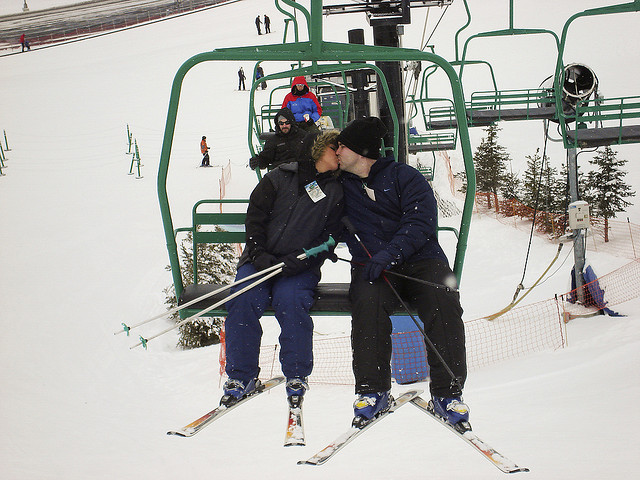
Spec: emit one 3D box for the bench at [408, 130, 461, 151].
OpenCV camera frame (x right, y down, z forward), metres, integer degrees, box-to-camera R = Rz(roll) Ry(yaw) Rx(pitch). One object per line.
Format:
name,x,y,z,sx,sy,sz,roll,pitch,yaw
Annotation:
bench,2.491,-2.153,18.377,0.787,0.299,0.846,0,20,4

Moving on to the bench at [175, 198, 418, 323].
bench,-0.265,0.335,12.320,2.589,1.050,1.393,1,-37,-3

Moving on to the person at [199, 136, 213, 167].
person,-3.888,-3.026,29.731,0.543,0.565,1.240,-11,-35,-13

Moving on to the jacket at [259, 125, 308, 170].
jacket,-0.553,-1.484,13.880,0.797,0.620,0.274,-11,8,-5

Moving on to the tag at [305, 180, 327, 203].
tag,-0.033,-0.659,11.929,0.177,0.243,0.025,-31,-9,-4

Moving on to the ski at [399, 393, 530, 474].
ski,2.122,2.925,12.632,0.264,0.238,2.164,-7,36,-34

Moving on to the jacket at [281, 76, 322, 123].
jacket,-0.320,-2.521,15.414,0.720,0.974,0.524,-2,-6,3
